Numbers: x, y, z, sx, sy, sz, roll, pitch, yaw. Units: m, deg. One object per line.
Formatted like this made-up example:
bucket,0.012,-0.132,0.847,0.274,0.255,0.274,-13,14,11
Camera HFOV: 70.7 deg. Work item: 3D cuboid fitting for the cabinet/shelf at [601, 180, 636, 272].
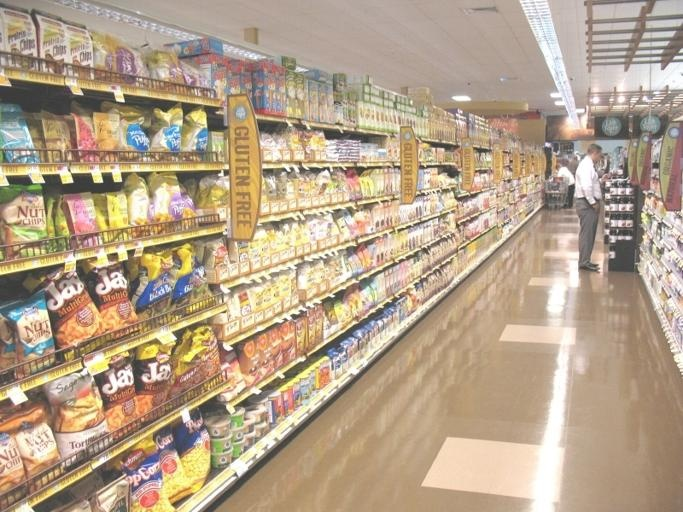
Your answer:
cabinet/shelf,5.091,-0.544,8.776,0.526,1.689,0.383,4,10,34

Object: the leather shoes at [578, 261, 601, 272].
leather shoes,4.729,0.208,9.287,0.451,0.189,0.156,8,10,38
